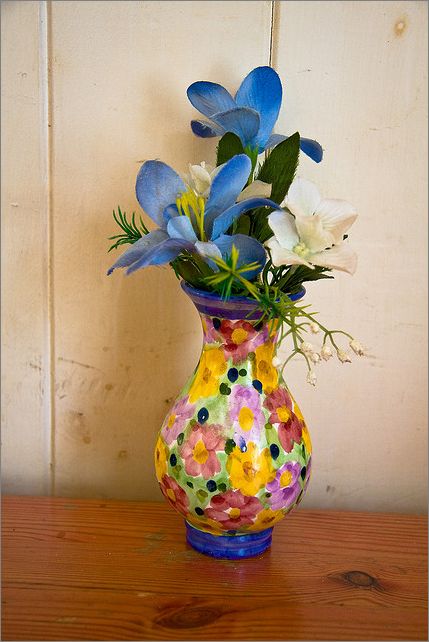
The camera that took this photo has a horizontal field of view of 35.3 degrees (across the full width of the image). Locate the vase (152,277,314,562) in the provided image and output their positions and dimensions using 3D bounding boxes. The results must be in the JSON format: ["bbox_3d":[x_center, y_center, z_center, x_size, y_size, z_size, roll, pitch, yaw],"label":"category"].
[{"bbox_3d":[0.006,0.092,0.629,0.165,0.224,0.150,1,5,-28],"label":"vase"}]

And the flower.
[{"bbox_3d":[0.027,-0.087,0.622,0.307,0.213,0.158,8,-8,9],"label":"flower"}]
